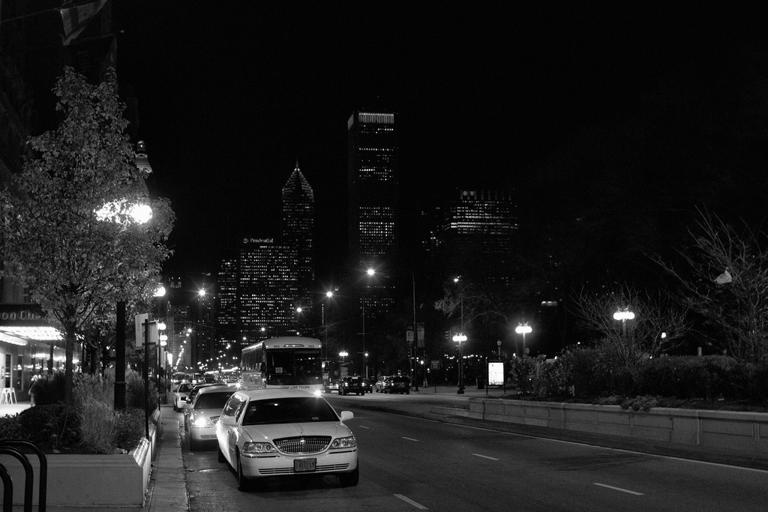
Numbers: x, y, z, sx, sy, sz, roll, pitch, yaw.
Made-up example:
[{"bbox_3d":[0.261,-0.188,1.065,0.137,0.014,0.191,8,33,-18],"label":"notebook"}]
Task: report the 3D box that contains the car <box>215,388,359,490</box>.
[{"bbox_3d":[-2.470,5.045,21.799,3.438,2.641,1.775,0,-11,-2],"label":"car"}]
